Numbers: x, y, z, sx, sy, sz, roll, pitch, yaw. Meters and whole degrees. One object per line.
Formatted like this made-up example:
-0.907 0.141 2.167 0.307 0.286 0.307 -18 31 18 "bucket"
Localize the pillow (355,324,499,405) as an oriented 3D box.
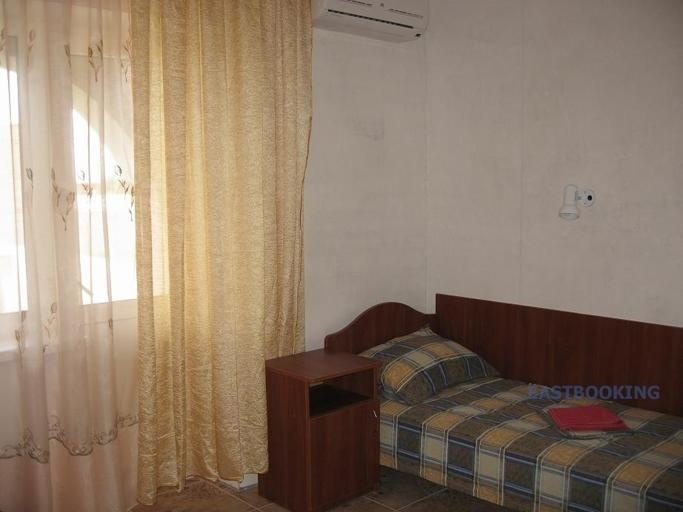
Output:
0.566 0.714 3.937 0.538 0.169 0.460 -7 16 -44 "pillow"
